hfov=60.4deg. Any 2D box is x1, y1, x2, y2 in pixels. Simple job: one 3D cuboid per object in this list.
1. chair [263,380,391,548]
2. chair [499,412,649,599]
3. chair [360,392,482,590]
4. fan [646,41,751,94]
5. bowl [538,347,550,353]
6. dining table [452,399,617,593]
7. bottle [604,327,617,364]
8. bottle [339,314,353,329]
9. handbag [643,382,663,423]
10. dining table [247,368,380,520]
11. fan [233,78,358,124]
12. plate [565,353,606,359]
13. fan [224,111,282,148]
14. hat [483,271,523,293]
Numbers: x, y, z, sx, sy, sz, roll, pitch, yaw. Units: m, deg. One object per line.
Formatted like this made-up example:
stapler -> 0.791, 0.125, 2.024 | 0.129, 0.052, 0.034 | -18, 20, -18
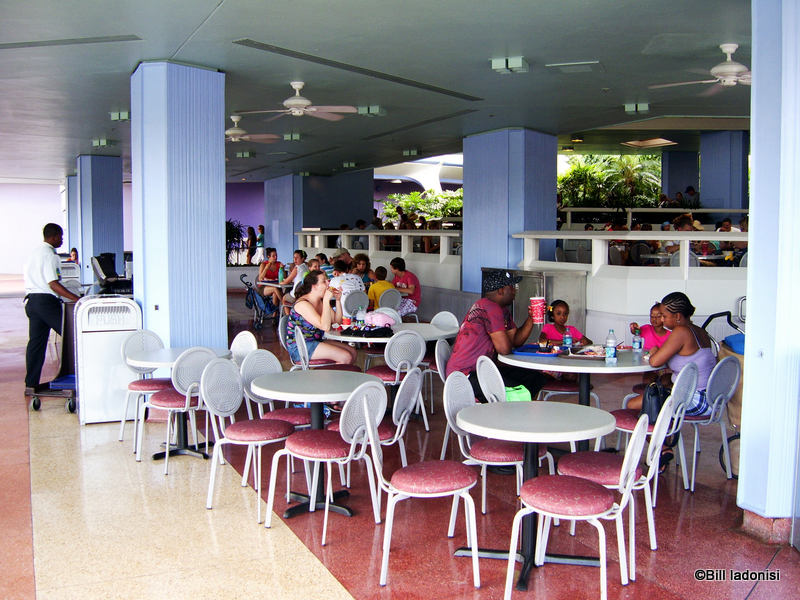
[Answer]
chair -> -0.472, 1.024, 4.584 | 0.644, 0.951, 0.583 | 2, 1, 34
chair -> 1.028, 1.136, 3.953 | 0.650, 1.045, 1.064 | 5, 11, 28
chair -> 0.129, 1.134, 4.148 | 0.696, 0.953, 0.606 | 1, 2, -7
fan -> 3.021, -2.407, 6.975 | 1.143, 0.323, 1.111 | 1, 7, 20
bowl -> 1.176, 0.393, 5.551 | 0.060, 0.040, 0.057 | 0, 4, 0
dining table -> 0.885, 1.177, 4.699 | 1.280, 1.090, 1.160 | -3, 5, -13
bottle -> 1.651, 0.347, 5.366 | 0.098, 0.233, 0.389 | 3, 10, 17
bottle -> -0.539, 0.223, 6.886 | 0.136, 0.119, 0.129 | 1, -4, -4
handbag -> 1.659, 0.679, 4.502 | 0.144, 0.270, 0.257 | 1, 9, 25
dining table -> -0.568, 1.056, 4.956 | 1.033, 0.910, 1.010 | -2, 1, 28
fan -> -0.980, -2.306, 8.205 | 1.003, 0.245, 0.866 | 4, 9, 34
plate -> 1.456, 0.437, 5.376 | 0.270, 0.019, 0.128 | 2, 9, 16
fan -> -2.232, -2.485, 10.069 | 0.910, 0.301, 0.869 | -2, 1, -25
hat -> 1.223, -0.229, 8.003 | 0.240, 0.277, 0.421 | -2, 6, 4
